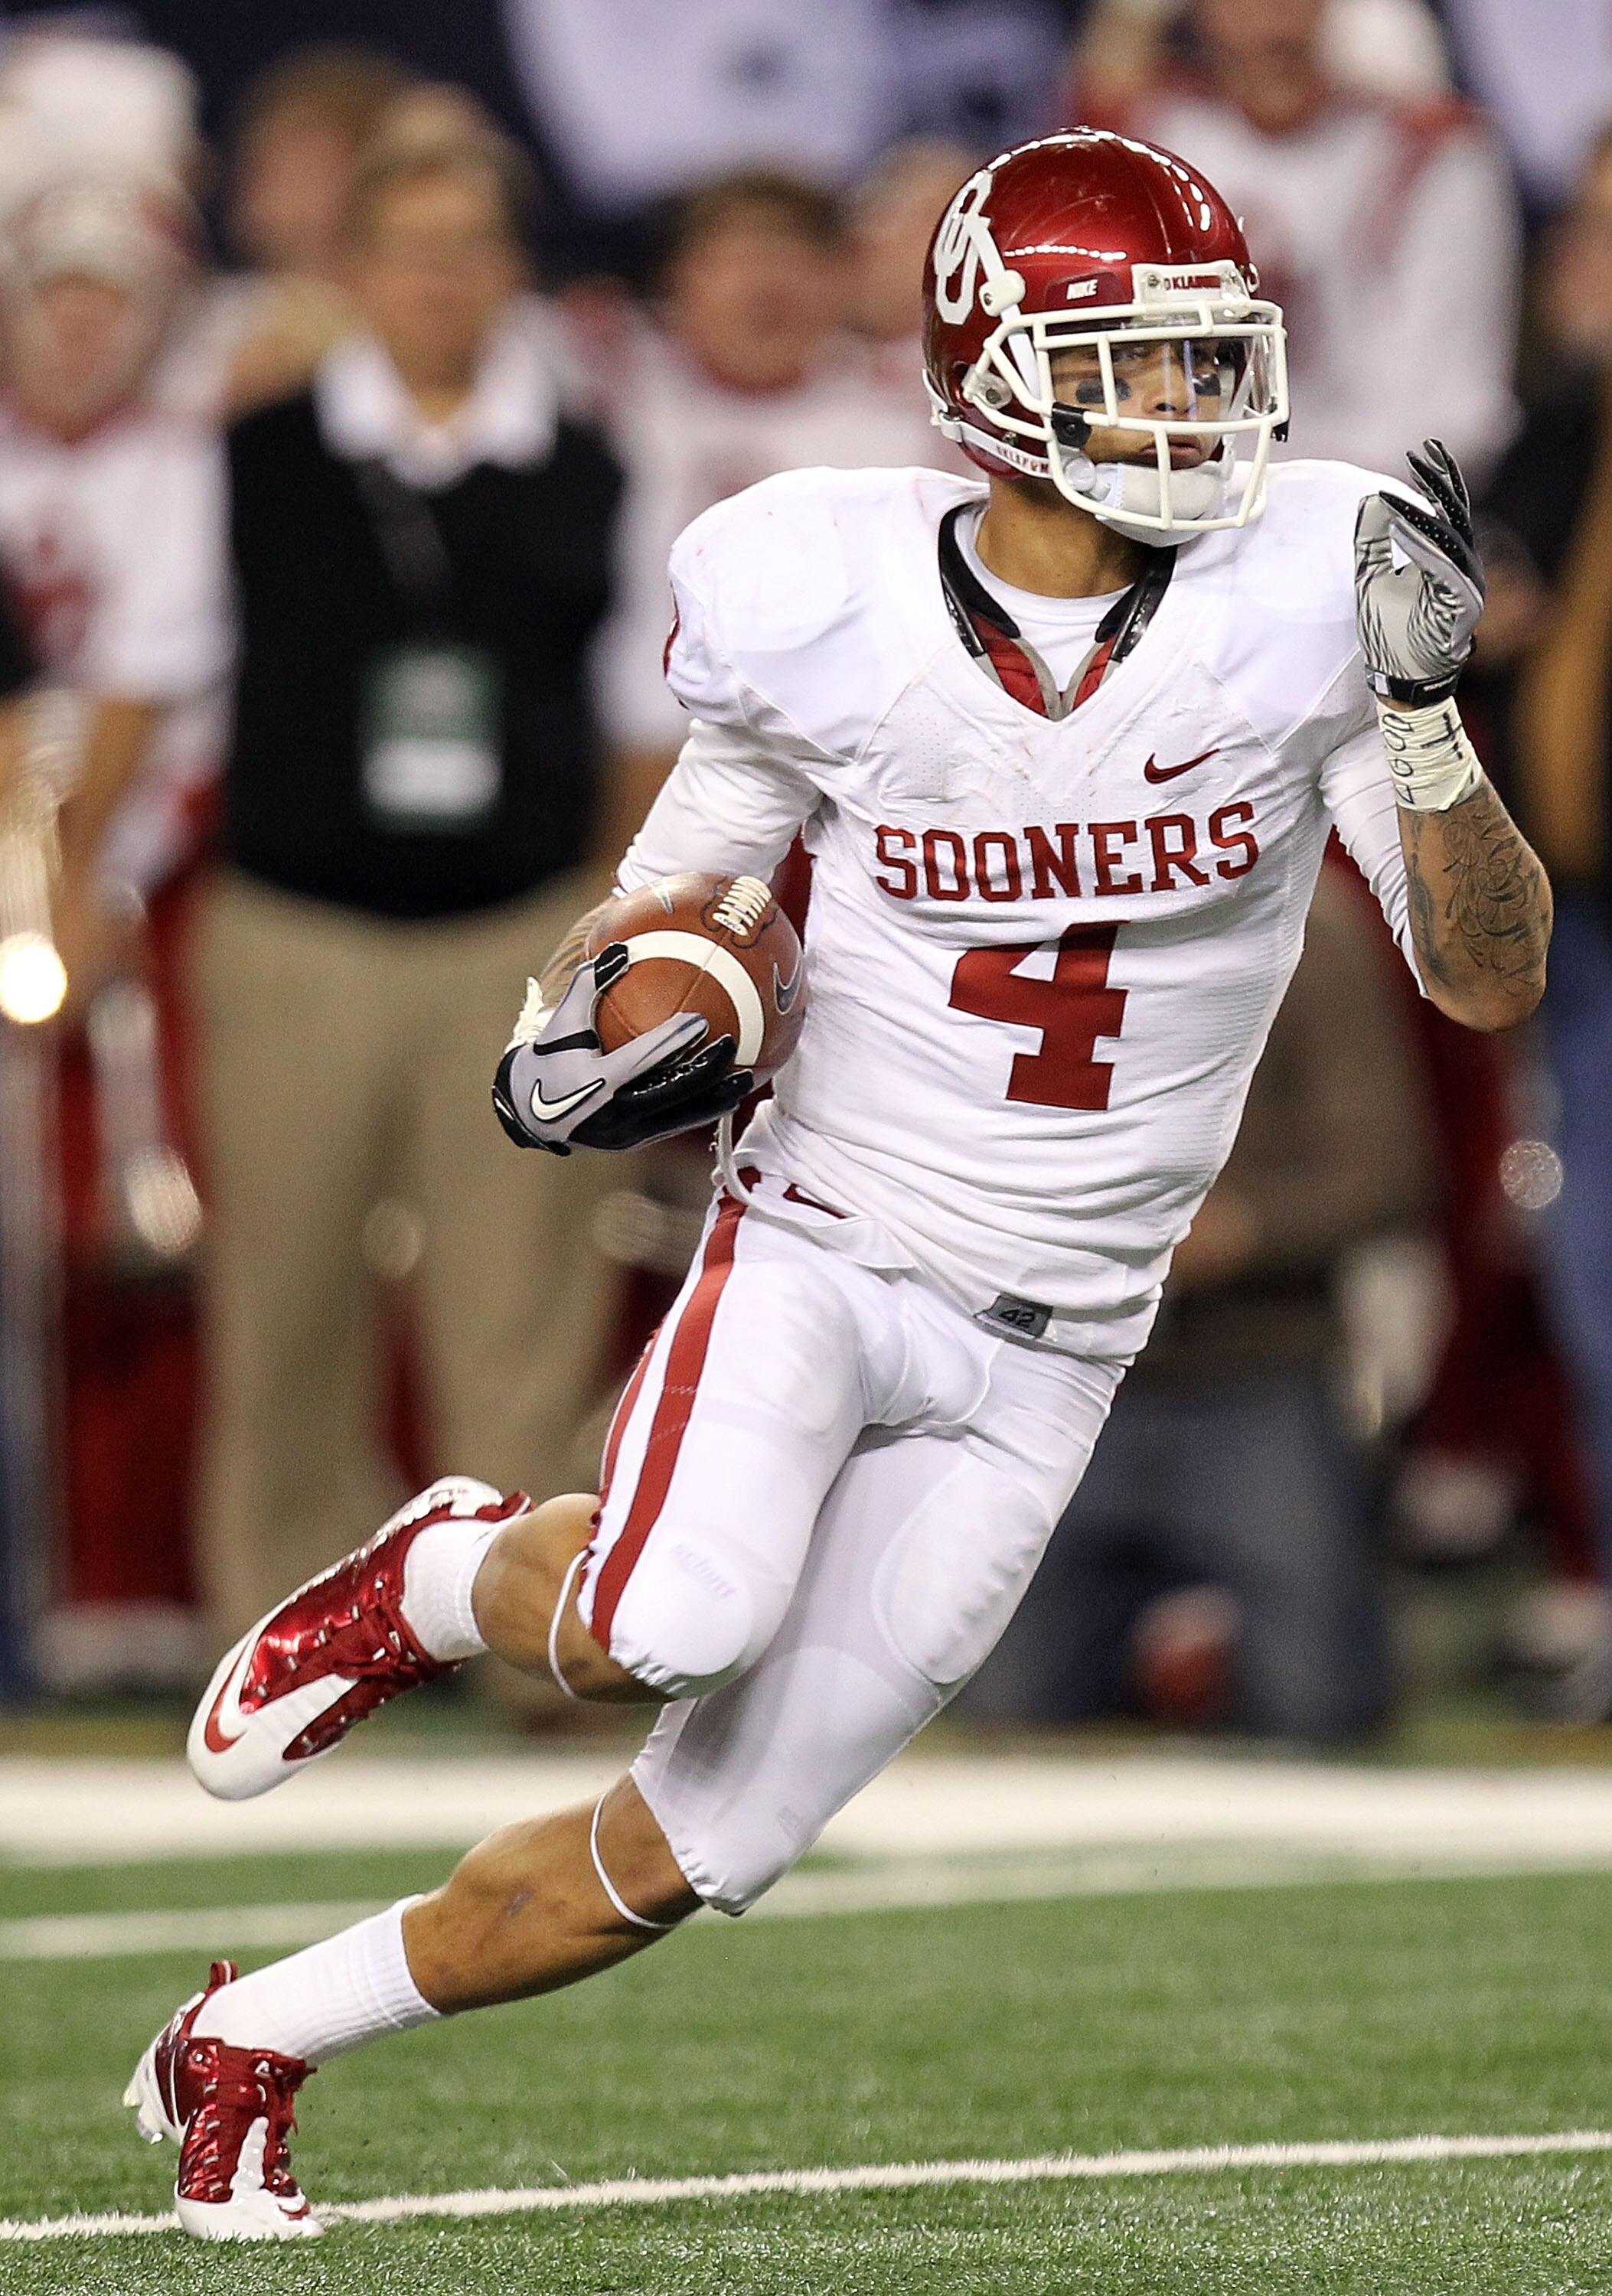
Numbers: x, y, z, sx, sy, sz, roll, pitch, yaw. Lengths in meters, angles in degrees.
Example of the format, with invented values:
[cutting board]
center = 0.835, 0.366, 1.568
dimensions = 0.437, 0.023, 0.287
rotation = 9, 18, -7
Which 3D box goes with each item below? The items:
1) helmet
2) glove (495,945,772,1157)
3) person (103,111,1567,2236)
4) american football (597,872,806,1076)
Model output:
[helmet]
center = 0.214, -0.577, 2.099
dimensions = 0.276, 0.288, 0.355
rotation = -10, 25, -24
[glove]
center = -0.134, -0.073, 2.225
dimensions = 0.199, 0.136, 0.069
rotation = -21, 18, 38
[person]
center = -0.036, -0.001, 2.192
dimensions = 1.068, 1.352, 0.652
rotation = -17, 33, -23
[american football]
center = -0.077, -0.133, 2.235
dimensions = 0.128, 0.128, 0.168
rotation = 36, 32, 15
